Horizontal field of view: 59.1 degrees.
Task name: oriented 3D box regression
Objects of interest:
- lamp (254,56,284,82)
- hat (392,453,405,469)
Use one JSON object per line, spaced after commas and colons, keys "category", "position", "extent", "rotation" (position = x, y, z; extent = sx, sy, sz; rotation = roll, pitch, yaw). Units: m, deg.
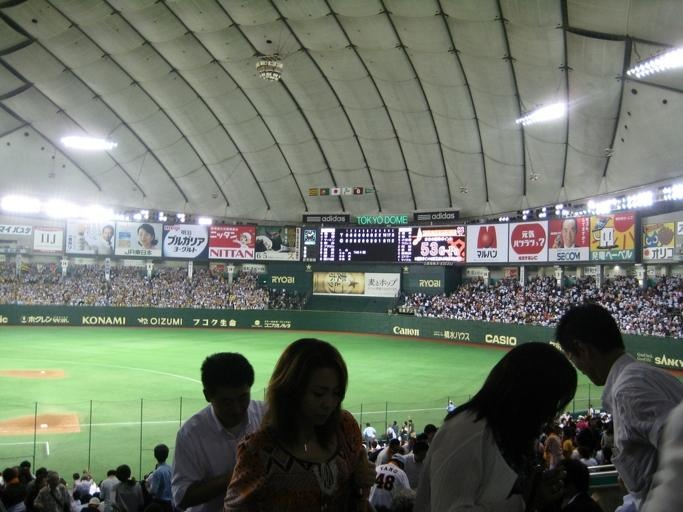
{"category": "lamp", "position": [-4.220, -10.898, 34.438], "extent": [1.186, 1.498, 1.243], "rotation": [1, 0, -22]}
{"category": "hat", "position": [1.185, 4.288, 12.665], "extent": [0.215, 0.272, 0.266], "rotation": [3, 17, 8]}
